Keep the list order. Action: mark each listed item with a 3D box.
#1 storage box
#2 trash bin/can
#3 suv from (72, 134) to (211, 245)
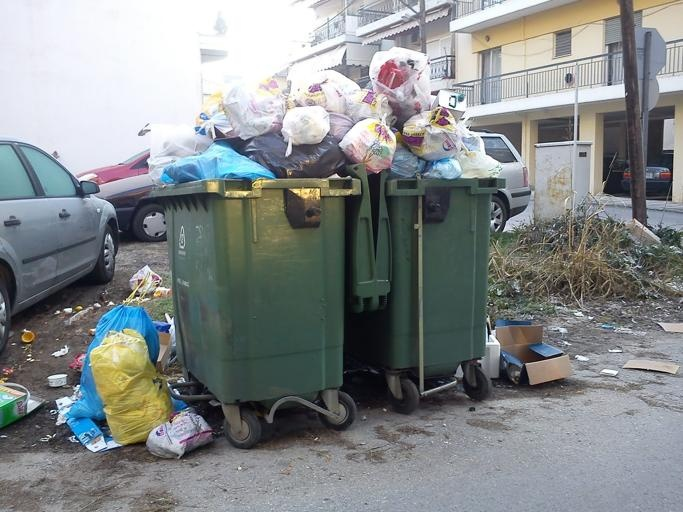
[{"bbox_3d":[1.632,0.839,4.816,0.427,0.321,0.644,-3,9,-15],"label":"storage box"},{"bbox_3d":[-0.163,0.314,4.591,2.399,1.655,1.754,-3,3,-27],"label":"trash bin/can"},{"bbox_3d":[-3.228,-1.232,10.739,3.482,1.787,1.791,2,5,-17],"label":"suv"}]
